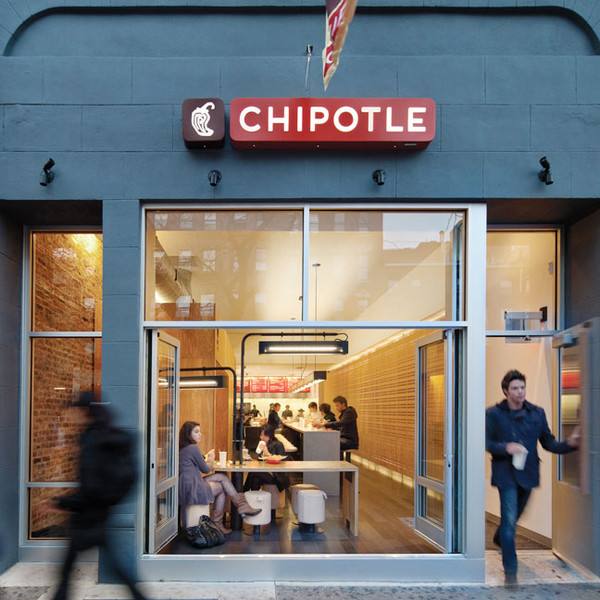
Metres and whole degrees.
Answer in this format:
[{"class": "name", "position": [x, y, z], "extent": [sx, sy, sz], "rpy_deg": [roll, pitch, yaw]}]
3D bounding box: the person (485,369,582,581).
[{"class": "person", "position": [1.982, 1.547, 7.258], "extent": [0.705, 1.835, 0.436], "rpy_deg": [2, -6, -23]}]

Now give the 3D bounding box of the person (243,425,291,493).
[{"class": "person", "position": [-0.406, 2.061, 10.021], "extent": [0.510, 0.997, 0.391], "rpy_deg": [11, -6, -24]}]

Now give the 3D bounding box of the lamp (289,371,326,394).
[{"class": "lamp", "position": [0.239, 2.049, 20.394], "extent": [0.299, 0.213, 4.272], "rpy_deg": [5, -14, -12]}]

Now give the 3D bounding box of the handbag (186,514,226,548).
[{"class": "handbag", "position": [-0.931, 2.261, 7.983], "extent": [0.376, 0.253, 0.370], "rpy_deg": [2, -5, -26]}]

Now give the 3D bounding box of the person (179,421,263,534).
[{"class": "person", "position": [-0.920, 1.860, 8.568], "extent": [0.732, 1.130, 0.712], "rpy_deg": [-4, -6, 37]}]

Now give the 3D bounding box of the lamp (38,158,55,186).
[{"class": "lamp", "position": [-2.253, -1.133, 7.247], "extent": [0.124, 0.227, 0.132], "rpy_deg": [2, -5, -15]}]

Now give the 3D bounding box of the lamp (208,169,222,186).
[{"class": "lamp", "position": [-0.770, -1.100, 7.290], "extent": [0.121, 0.162, 0.114], "rpy_deg": [1, -5, -9]}]

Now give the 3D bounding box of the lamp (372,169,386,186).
[{"class": "lamp", "position": [0.702, -1.098, 7.287], "extent": [0.105, 0.228, 0.153], "rpy_deg": [0, -2, 4]}]

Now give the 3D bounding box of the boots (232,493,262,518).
[{"class": "boots", "position": [-0.571, 2.142, 8.521], "extent": [0.343, 0.319, 0.148], "rpy_deg": [-6, -10, -7]}]

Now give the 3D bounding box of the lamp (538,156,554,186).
[{"class": "lamp", "position": [2.192, -1.169, 7.282], "extent": [0.127, 0.264, 0.125], "rpy_deg": [-1, -5, 7]}]
